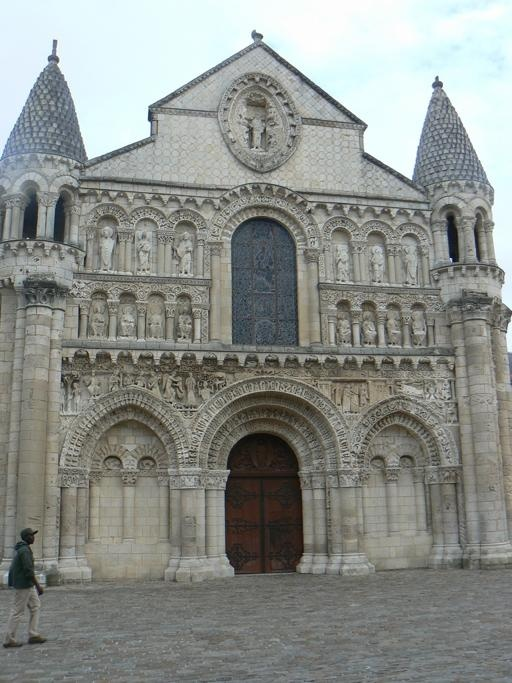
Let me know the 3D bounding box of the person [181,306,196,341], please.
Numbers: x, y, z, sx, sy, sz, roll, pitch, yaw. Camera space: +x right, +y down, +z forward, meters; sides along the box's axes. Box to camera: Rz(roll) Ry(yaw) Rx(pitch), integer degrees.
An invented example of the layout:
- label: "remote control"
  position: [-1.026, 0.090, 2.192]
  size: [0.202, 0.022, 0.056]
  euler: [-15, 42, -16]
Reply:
- label: "person"
  position: [-1.956, -0.483, 23.809]
  size: [0.316, 1.013, 0.358]
  euler: [-15, -19, 43]

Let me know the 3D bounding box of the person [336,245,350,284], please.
- label: "person"
  position: [2.587, -2.341, 25.463]
  size: [0.470, 1.238, 0.319]
  euler: [0, -14, -6]

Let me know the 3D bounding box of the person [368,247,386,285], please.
- label: "person"
  position: [3.667, -2.338, 25.765]
  size: [0.520, 1.304, 0.268]
  euler: [1, -14, -10]

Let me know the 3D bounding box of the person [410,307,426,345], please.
- label: "person"
  position: [4.813, -0.449, 25.398]
  size: [0.307, 1.278, 0.458]
  euler: [-13, -18, 38]

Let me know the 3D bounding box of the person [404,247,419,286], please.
- label: "person"
  position: [4.739, -2.314, 25.988]
  size: [0.462, 1.284, 0.173]
  euler: [4, -15, -22]

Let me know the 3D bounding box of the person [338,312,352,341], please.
- label: "person"
  position: [2.560, -0.384, 24.828]
  size: [0.477, 0.958, 0.192]
  euler: [4, -15, -21]

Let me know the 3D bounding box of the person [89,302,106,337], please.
- label: "person"
  position: [-4.280, -0.630, 23.320]
  size: [0.473, 1.135, 0.289]
  euler: [2, -14, -12]

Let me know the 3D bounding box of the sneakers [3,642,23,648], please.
- label: "sneakers"
  position: [-3.413, 4.305, 12.100]
  size: [0.272, 0.107, 0.093]
  euler: [2, -5, -12]

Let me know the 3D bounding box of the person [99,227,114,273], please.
- label: "person"
  position: [-4.140, -2.591, 23.946]
  size: [0.450, 1.343, 0.235]
  euler: [1, -14, -11]

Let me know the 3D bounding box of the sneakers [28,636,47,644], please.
- label: "sneakers"
  position: [-3.168, 4.334, 12.400]
  size: [0.285, 0.125, 0.098]
  euler: [4, -1, -14]

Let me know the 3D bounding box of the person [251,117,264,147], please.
- label: "person"
  position: [0.076, -6.417, 26.166]
  size: [0.228, 1.239, 0.461]
  euler: [-10, -16, 32]

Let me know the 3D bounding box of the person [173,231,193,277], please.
- label: "person"
  position: [-2.062, -2.506, 24.429]
  size: [0.556, 1.370, 0.289]
  euler: [0, -14, -5]

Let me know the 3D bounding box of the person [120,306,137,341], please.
- label: "person"
  position: [-3.495, -0.534, 23.452]
  size: [0.418, 0.998, 0.246]
  euler: [1, -14, -9]

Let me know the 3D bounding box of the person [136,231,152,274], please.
- label: "person"
  position: [-3.139, -2.548, 24.183]
  size: [0.439, 1.377, 0.272]
  euler: [3, -15, -17]

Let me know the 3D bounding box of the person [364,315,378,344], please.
- label: "person"
  position: [3.312, -0.330, 25.025]
  size: [0.461, 0.976, 0.278]
  euler: [0, -14, -7]

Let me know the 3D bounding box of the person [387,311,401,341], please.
- label: "person"
  position: [4.055, -0.431, 25.227]
  size: [0.455, 1.151, 0.257]
  euler: [3, -15, -19]
